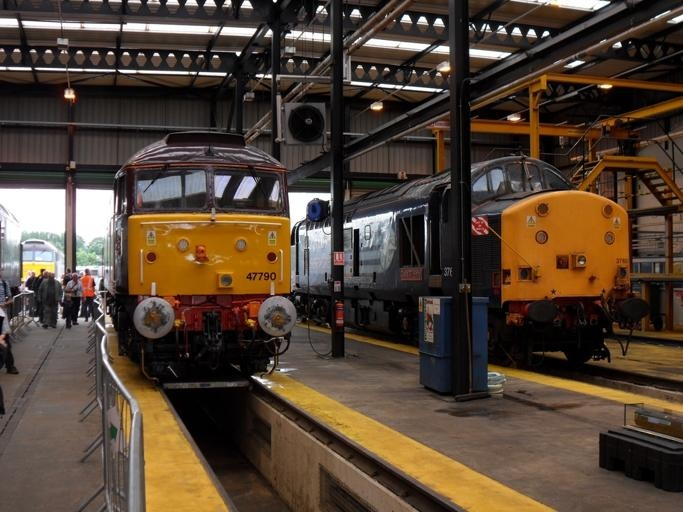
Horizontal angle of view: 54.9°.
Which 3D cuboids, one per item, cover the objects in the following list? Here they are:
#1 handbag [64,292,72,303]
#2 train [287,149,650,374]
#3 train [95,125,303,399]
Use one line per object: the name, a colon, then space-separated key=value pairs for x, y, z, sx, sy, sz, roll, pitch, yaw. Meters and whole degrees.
handbag: x=-10.351 y=1.585 z=24.851 sx=0.278 sy=0.433 sz=0.415 roll=2 pitch=-7 yaw=-27
train: x=2.719 y=0.212 z=21.049 sx=3.974 sy=6.009 sz=16.203 roll=0 pitch=-2 yaw=-19
train: x=-2.565 y=0.065 z=12.416 sx=3.229 sy=4.921 sz=2.144 roll=-1 pitch=3 yaw=-16
